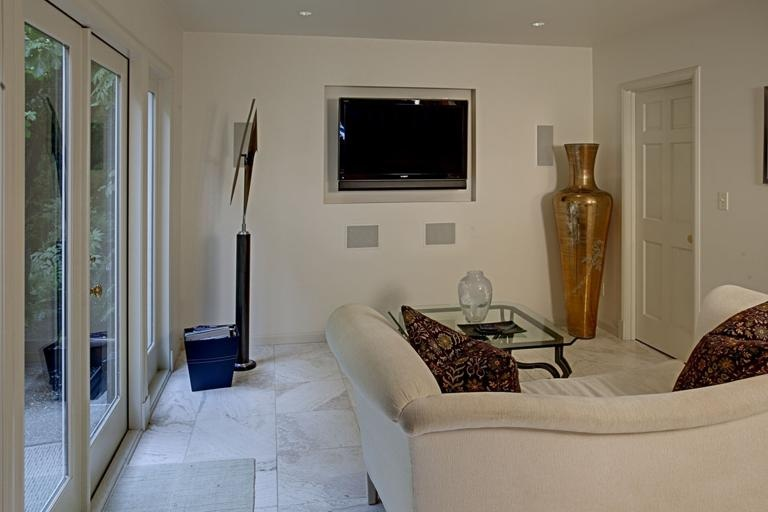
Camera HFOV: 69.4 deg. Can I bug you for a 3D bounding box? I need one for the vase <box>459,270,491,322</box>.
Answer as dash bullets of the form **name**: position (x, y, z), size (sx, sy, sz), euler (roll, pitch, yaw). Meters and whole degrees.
- **vase**: position (0.714, 0.323, 4.374), size (0.269, 0.405, 0.251), euler (0, 6, 21)
